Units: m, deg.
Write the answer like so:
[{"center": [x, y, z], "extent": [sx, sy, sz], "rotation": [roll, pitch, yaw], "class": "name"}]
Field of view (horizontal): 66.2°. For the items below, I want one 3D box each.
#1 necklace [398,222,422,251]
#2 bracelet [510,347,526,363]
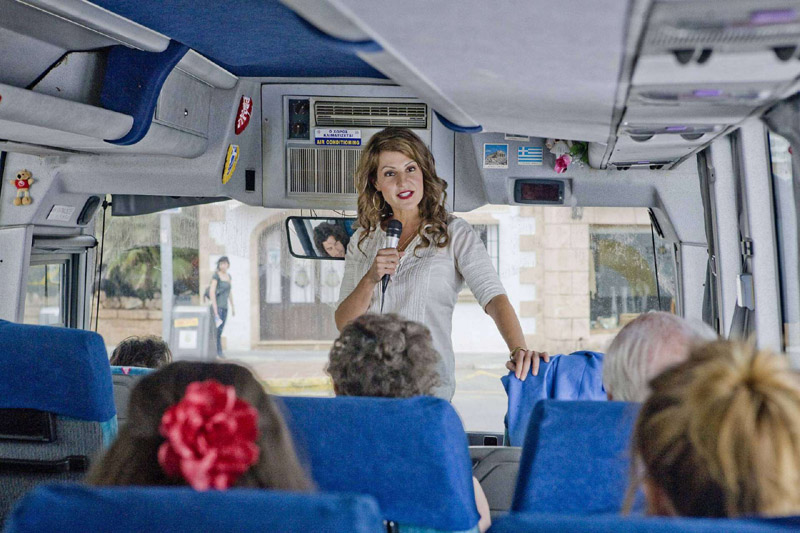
[{"center": [0.050, -0.144, 2.989], "extent": [0.044, 0.154, 0.034], "rotation": [21, -31, 40], "class": "necklace"}, {"center": [0.478, 0.358, 2.505], "extent": [0.046, 0.026, 0.059], "rotation": [7, -32, -30], "class": "bracelet"}]
